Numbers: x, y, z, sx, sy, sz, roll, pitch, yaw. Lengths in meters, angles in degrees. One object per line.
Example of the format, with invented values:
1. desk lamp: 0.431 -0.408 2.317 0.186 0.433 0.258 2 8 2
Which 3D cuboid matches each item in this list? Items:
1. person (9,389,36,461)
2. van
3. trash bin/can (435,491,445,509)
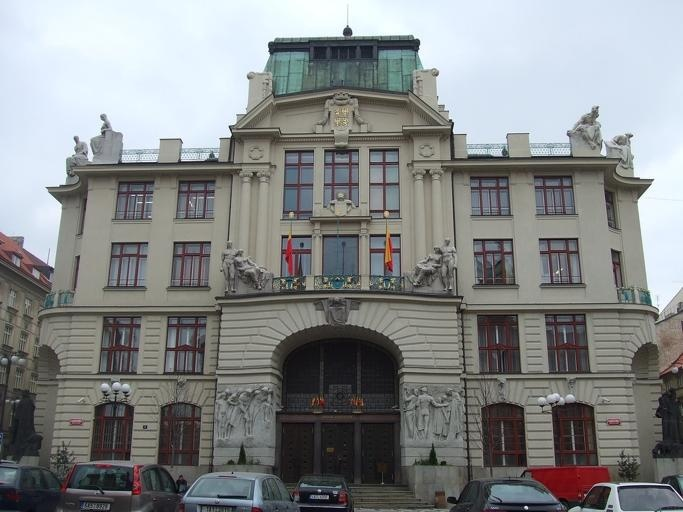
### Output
1. person: -18.828 10.193 39.593 1.078 3.882 1.501 5 -10 -41
2. van: 9.804 9.933 29.249 4.255 2.510 2.462 1 -21 1
3. trash bin/can: 5.052 12.593 33.964 0.633 0.986 0.656 1 -19 -1
